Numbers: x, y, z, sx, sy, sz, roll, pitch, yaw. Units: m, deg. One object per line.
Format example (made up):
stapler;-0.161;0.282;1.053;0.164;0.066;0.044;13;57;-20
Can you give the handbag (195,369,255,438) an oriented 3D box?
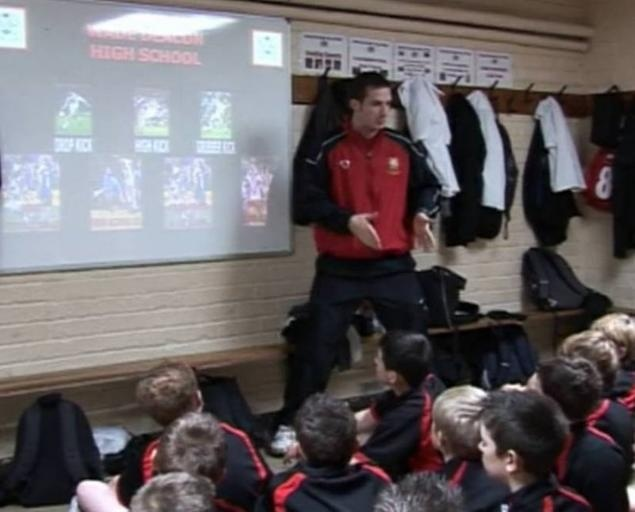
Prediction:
handbag;-0.500;0.796;3.104;0.303;0.315;0.467;-3;7;-13

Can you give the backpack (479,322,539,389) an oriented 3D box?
backpack;1.215;0.658;3.729;0.461;0.431;0.191;0;-23;-6

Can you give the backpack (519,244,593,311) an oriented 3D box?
backpack;1.653;0.172;4.042;0.403;0.450;0.190;-5;-19;-22

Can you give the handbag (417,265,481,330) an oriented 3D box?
handbag;0.786;0.291;3.623;0.324;0.400;0.443;-7;-6;-35

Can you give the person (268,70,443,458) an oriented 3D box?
person;0.219;0.025;2.949;0.874;1.911;0.470;-2;7;0
